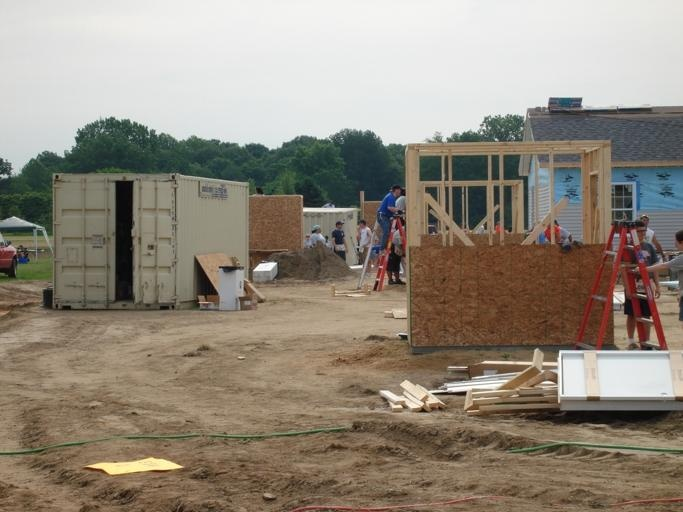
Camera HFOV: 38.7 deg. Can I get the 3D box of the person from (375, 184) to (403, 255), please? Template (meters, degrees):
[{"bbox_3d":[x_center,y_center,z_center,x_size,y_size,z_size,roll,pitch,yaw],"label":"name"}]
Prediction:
[{"bbox_3d":[1.075,-0.809,22.143,0.668,1.543,0.597,2,6,11],"label":"person"}]

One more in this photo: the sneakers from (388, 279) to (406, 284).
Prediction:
[{"bbox_3d":[1.298,0.628,23.429,0.430,0.159,0.137,0,10,-5],"label":"sneakers"}]
